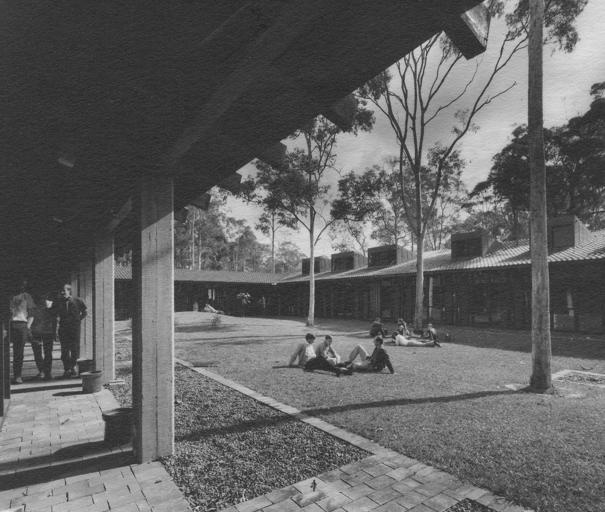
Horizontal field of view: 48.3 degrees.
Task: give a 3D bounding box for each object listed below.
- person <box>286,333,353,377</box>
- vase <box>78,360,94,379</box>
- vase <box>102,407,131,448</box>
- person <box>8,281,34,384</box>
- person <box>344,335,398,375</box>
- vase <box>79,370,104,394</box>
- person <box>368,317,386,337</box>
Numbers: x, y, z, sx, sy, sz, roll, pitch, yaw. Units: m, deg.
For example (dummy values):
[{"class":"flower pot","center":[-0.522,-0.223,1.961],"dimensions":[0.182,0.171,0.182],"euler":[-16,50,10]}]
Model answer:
[{"class":"person","center":[0.289,1.769,11.573],"dimensions":[0.970,0.532,0.537],"euler":[-8,-10,37]},{"class":"vase","center":[-3.237,1.692,10.097],"dimensions":[0.253,0.276,0.286],"euler":[-4,-13,23]},{"class":"vase","center":[-1.996,1.859,7.304],"dimensions":[0.279,0.327,0.368],"euler":[2,-8,-15]},{"class":"person","center":[-4.097,1.201,9.934],"dimensions":[0.366,1.308,0.667],"euler":[-4,-6,-23]},{"class":"person","center":[1.089,1.648,11.467],"dimensions":[0.949,0.636,0.562],"euler":[7,2,1]},{"class":"vase","center":[-2.906,1.736,9.314],"dimensions":[0.273,0.243,0.281],"euler":[1,-4,-9]},{"class":"person","center":[2.191,2.057,19.692],"dimensions":[0.555,0.742,0.494],"euler":[9,-13,-37]}]
